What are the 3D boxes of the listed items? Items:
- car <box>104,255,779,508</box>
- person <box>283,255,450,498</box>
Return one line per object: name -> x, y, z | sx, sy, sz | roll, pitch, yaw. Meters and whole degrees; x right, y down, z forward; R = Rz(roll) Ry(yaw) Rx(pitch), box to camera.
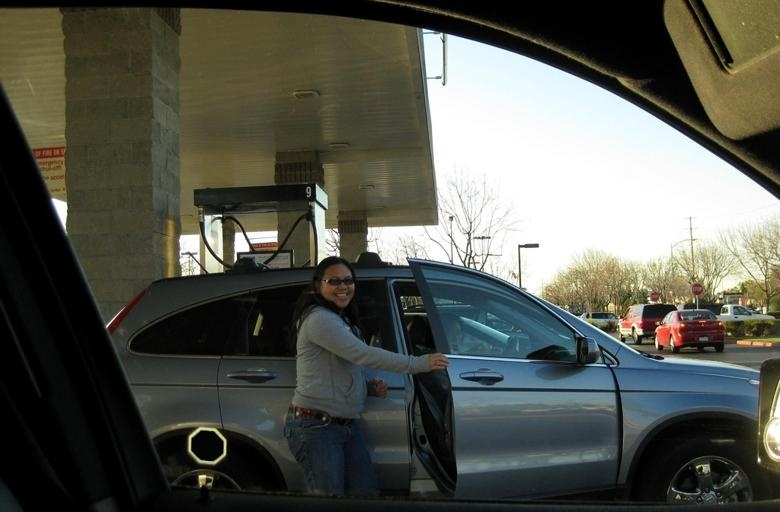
car -> 0.432, 0.917, 5.370 | 4.196, 1.444, 1.725 | -2, -7, 1
person -> -0.262, 0.725, 4.671 | 0.769, 1.418, 0.474 | -4, 1, -9
